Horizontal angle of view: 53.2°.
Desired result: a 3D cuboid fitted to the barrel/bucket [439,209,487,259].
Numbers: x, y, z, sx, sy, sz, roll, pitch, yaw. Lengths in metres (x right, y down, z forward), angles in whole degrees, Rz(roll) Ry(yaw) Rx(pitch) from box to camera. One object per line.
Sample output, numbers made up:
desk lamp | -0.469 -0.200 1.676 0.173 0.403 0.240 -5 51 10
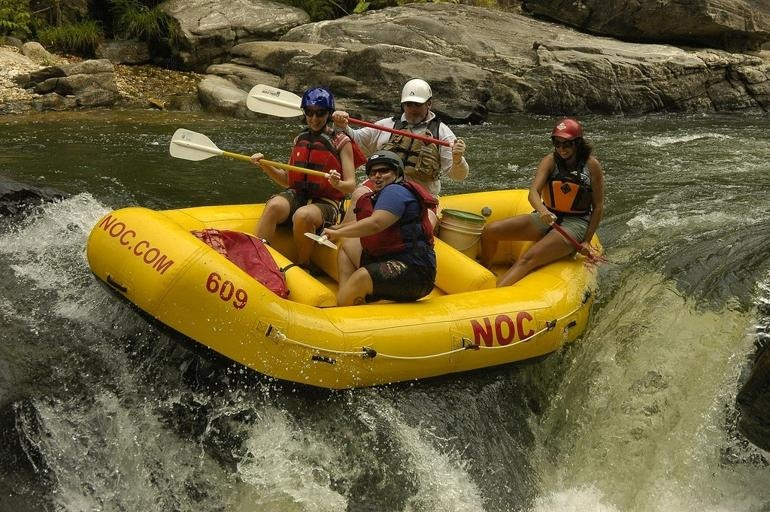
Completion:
barrel/bucket | 0.740 -0.195 8.588 0.607 0.520 0.580 3 -7 0

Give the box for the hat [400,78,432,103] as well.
hat | 0.339 -1.771 8.251 0.276 0.223 0.260 5 27 10

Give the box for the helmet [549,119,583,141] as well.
helmet | 1.882 -1.315 7.997 0.287 0.146 0.215 2 11 -40

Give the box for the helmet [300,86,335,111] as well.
helmet | -0.697 -1.613 7.915 0.332 0.245 0.240 -5 27 -8

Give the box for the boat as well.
boat | -0.721 0.350 8.634 3.240 1.048 4.759 29 21 38
